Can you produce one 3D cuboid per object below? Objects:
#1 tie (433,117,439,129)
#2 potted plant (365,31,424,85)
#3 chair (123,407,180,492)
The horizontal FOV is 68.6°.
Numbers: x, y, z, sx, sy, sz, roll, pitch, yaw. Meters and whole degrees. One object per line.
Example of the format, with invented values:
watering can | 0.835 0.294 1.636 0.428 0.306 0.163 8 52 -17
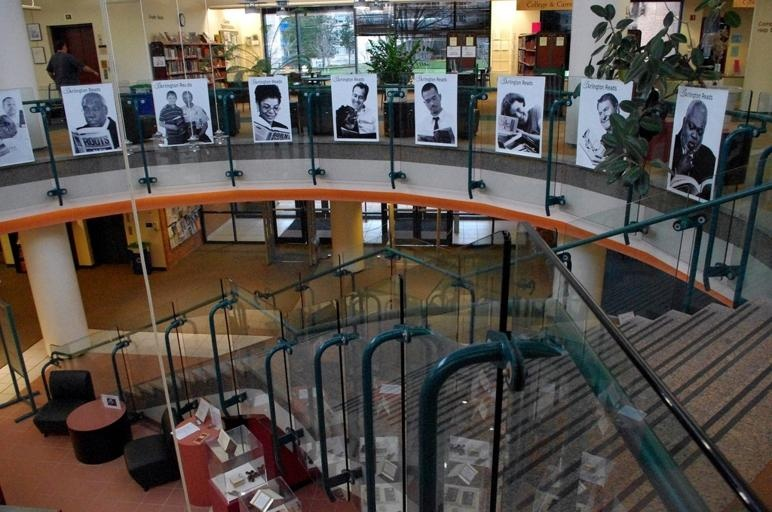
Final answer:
tie | 0.645 -1.687 7.241 0.054 0.180 0.042 -3 22 -15
potted plant | 0.079 -2.771 8.137 0.890 0.649 0.902 4 13 12
chair | -2.997 2.541 7.213 0.586 0.756 0.592 -13 23 -26
